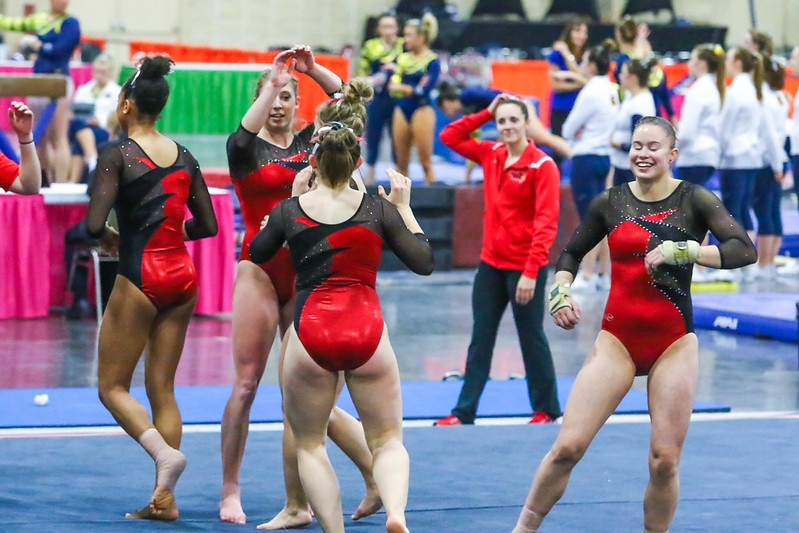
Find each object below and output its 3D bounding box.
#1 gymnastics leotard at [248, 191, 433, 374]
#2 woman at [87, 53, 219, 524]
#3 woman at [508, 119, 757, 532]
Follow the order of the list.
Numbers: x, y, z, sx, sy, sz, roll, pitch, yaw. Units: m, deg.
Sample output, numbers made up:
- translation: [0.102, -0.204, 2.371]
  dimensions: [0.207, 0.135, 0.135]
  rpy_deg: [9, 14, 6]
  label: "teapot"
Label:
- translation: [-0.399, -0.049, 9.026]
  dimensions: [1.483, 1.460, 1.023]
  rpy_deg: [-2, 8, 1]
  label: "gymnastics leotard"
- translation: [-1.742, 0.133, 9.137]
  dimensions: [0.828, 3.124, 0.722]
  rpy_deg: [2, 9, -4]
  label: "woman"
- translation: [1.614, 0.426, 8.949]
  dimensions: [1.300, 2.822, 0.790]
  rpy_deg: [5, 9, 11]
  label: "woman"
